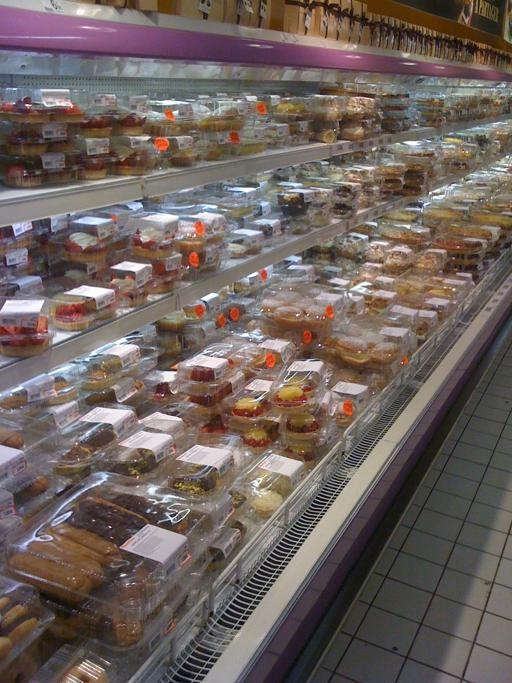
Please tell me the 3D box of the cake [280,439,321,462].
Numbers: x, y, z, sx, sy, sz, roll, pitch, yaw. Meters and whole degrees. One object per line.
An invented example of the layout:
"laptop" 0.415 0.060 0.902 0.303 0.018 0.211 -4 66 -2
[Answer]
"cake" 0.147 0.344 1.472 0.131 0.048 0.072 -2 20 -3

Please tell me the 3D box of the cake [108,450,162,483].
"cake" -0.287 0.292 1.118 0.111 0.048 0.095 3 20 8

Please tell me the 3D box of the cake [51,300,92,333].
"cake" -0.438 -0.062 1.151 0.084 0.053 0.081 -10 29 -33

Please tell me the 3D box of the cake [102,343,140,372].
"cake" -0.404 0.040 1.478 0.099 0.044 0.071 -31 55 -34

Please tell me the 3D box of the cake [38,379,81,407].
"cake" -0.533 0.141 1.300 0.083 0.018 0.077 2 19 -1

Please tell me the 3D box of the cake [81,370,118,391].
"cake" -0.461 0.121 1.436 0.110 0.042 0.036 -12 23 -29

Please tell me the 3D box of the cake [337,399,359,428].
"cake" 0.328 0.253 1.675 0.087 0.089 0.033 10 -17 -12

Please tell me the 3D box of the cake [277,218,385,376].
"cake" 0.270 -0.176 2.152 0.453 0.166 0.508 10 44 9

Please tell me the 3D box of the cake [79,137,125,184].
"cake" -0.402 -0.449 1.182 0.087 0.052 0.087 33 19 27

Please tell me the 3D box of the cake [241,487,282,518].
"cake" 0.022 0.412 1.216 0.059 0.016 0.077 27 31 31

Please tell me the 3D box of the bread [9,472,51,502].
"bread" -0.478 0.312 1.025 0.040 0.016 0.070 34 23 10

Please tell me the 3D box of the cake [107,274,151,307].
"cake" -0.358 -0.147 1.340 0.076 0.034 0.098 11 25 8

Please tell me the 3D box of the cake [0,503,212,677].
"cake" -0.251 0.380 0.903 0.270 0.135 0.351 7 21 20

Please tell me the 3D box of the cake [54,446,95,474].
"cake" -0.437 0.292 1.167 0.092 0.042 0.059 -9 22 -22

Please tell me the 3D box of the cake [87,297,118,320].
"cake" -0.384 -0.081 1.220 0.052 0.045 0.052 17 34 24

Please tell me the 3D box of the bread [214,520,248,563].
"bread" -0.055 0.436 1.037 0.042 0.039 0.115 -12 9 22

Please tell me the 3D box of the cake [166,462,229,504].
"cake" -0.138 0.331 1.102 0.120 0.056 0.142 1 20 3

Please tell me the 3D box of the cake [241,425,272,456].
"cake" 0.007 0.301 1.463 0.088 0.047 0.088 2 20 5

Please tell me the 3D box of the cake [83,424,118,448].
"cake" -0.393 0.244 1.216 0.070 0.045 0.061 1 20 3

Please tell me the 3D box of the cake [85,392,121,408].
"cake" -0.456 0.172 1.421 0.051 0.014 0.056 19 24 36

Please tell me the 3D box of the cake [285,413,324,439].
"cake" 0.160 0.271 1.513 0.083 0.021 0.079 1 18 10

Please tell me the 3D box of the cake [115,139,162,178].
"cake" -0.331 -0.502 1.336 0.135 0.083 0.127 -18 44 -25
